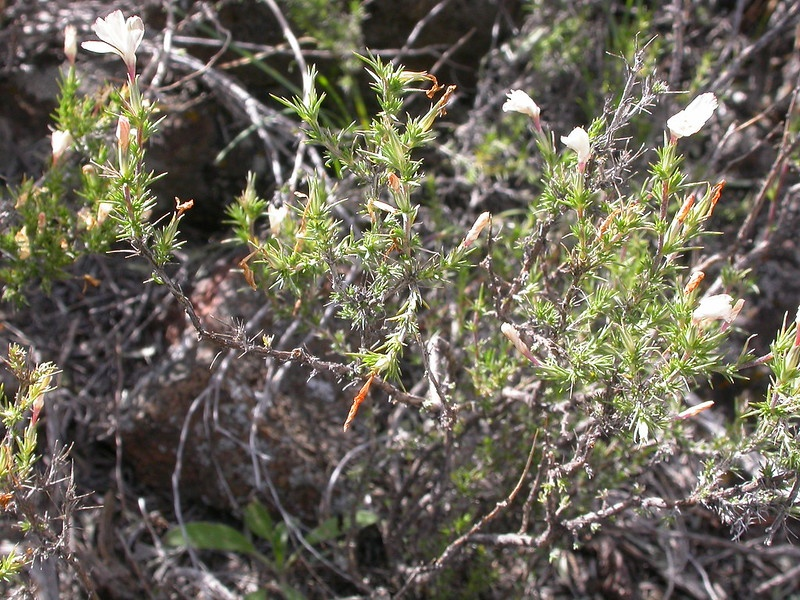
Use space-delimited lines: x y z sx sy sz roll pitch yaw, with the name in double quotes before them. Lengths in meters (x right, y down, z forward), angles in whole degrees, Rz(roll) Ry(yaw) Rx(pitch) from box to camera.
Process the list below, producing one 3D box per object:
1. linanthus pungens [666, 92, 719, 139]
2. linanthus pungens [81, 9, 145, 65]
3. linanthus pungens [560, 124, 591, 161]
"linanthus pungens" 0.802 -0.503 2.082 0.098 0.135 0.176 19 21 25
"linanthus pungens" -0.796 -0.741 2.131 0.152 0.136 0.164 8 19 -9
"linanthus pungens" 0.491 -0.435 2.111 0.084 0.091 0.167 15 19 11
